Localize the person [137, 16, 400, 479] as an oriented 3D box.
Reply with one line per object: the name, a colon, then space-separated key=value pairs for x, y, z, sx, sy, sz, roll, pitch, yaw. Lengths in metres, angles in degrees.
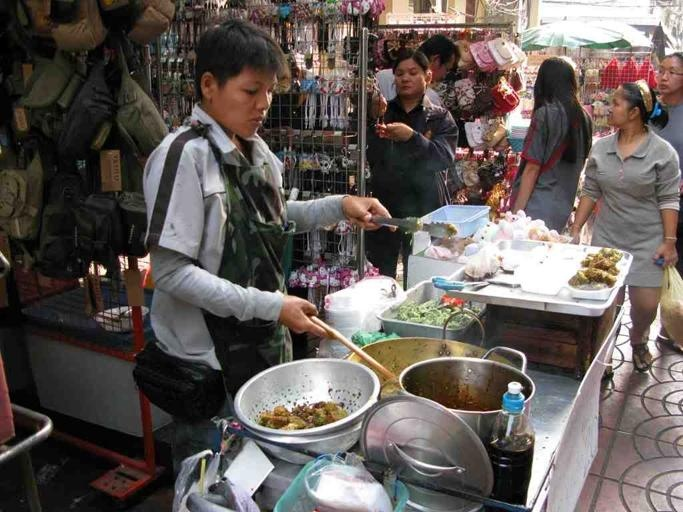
person: x=-0.275 y=0.077 z=2.464 sx=0.750 sy=1.979 sz=0.723 roll=7 pitch=15 yaw=28

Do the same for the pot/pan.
pot/pan: x=0.391 y=0.405 z=2.049 sx=0.567 sy=0.240 sz=0.706 roll=-8 pitch=22 yaw=-20

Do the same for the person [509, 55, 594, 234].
person: x=1.507 y=-0.730 z=4.421 sx=0.562 sy=1.464 sz=0.563 roll=18 pitch=23 yaw=25

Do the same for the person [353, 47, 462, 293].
person: x=0.465 y=-0.740 z=4.607 sx=0.684 sy=1.851 sz=0.664 roll=5 pitch=22 yaw=1

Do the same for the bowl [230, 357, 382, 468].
bowl: x=-0.100 y=0.477 z=2.054 sx=0.469 sy=0.304 sz=0.536 roll=-10 pitch=22 yaw=-30

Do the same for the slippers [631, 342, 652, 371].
slippers: x=2.275 y=0.750 z=4.425 sx=0.097 sy=0.120 sz=0.297 roll=-11 pitch=12 yaw=20

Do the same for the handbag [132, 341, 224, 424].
handbag: x=-0.643 y=0.498 z=2.498 sx=0.370 sy=0.283 sz=0.271 roll=25 pitch=53 yaw=15

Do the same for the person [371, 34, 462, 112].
person: x=0.572 y=-1.503 z=4.916 sx=0.440 sy=0.670 sz=0.761 roll=19 pitch=23 yaw=28

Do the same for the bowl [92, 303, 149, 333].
bowl: x=-1.398 y=0.390 z=3.673 sx=0.260 sy=0.118 sz=0.226 roll=-2 pitch=11 yaw=29

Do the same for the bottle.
bottle: x=0.488 y=0.563 z=1.741 sx=0.129 sy=0.408 sz=0.112 roll=9 pitch=18 yaw=7
